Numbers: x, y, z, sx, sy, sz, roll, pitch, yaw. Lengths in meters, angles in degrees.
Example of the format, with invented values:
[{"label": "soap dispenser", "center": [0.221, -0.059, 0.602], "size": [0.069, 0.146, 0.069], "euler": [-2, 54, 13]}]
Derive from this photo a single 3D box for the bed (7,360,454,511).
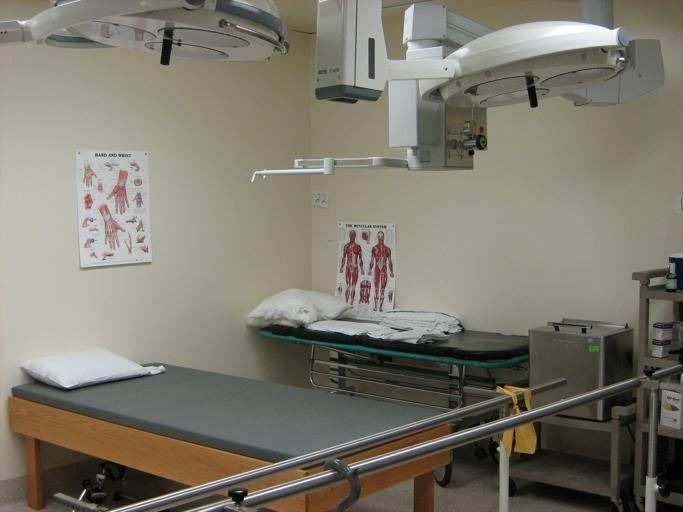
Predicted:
[{"label": "bed", "center": [-0.772, 1.127, 3.623], "size": [2.430, 0.754, 0.875], "euler": [0, 14, 26]}]
